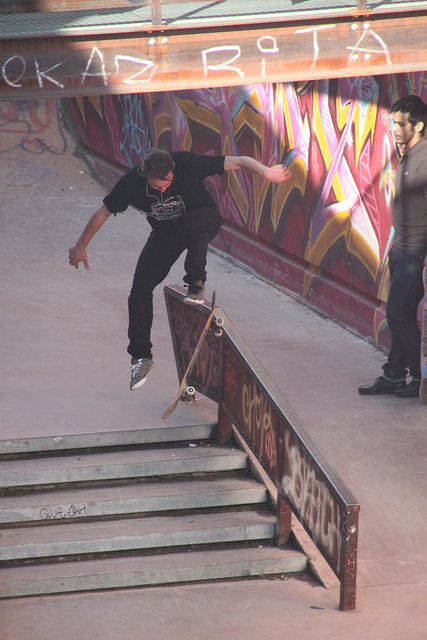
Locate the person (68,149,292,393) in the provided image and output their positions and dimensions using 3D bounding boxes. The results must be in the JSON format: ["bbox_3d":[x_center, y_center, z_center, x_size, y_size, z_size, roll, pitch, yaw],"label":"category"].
[{"bbox_3d":[-0.226,-0.373,5.048,1.286,1.671,0.705,-3,34,-7],"label":"person"}]

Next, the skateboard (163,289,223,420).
[{"bbox_3d":[-0.115,0.264,4.706,0.143,1.022,0.201,19,-8,0],"label":"skateboard"}]
